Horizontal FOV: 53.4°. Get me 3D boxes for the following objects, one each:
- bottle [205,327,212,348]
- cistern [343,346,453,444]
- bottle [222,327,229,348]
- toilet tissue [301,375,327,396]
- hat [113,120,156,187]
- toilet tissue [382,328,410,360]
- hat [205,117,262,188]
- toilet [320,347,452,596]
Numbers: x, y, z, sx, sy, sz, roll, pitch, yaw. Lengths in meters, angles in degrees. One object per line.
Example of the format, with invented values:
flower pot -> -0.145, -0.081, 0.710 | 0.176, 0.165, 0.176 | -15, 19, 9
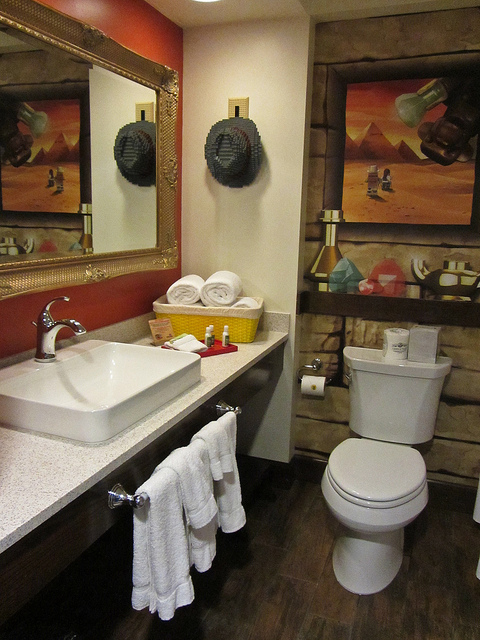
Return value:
bottle -> -0.124, 0.069, 1.871 | 0.027, 0.073, 0.062 | 1, 9, -5
cistern -> 0.684, 0.337, 2.127 | 0.423, 0.340, 0.243 | 6, 7, 32
bottle -> -0.058, 0.067, 1.907 | 0.025, 0.070, 0.080 | 1, 9, -2
toilet tissue -> 0.348, 0.299, 2.270 | 0.104, 0.100, 0.087 | -1, 22, 26
hat -> -0.391, -0.635, 1.842 | 0.208, 0.228, 0.053 | -6, 15, -16
toilet tissue -> 0.655, 0.095, 2.045 | 0.110, 0.137, 0.117 | 3, 7, 15
hat -> -0.033, -0.749, 2.124 | 0.246, 0.292, 0.145 | 6, 10, 30
toilet -> 0.542, 0.560, 1.885 | 0.372, 0.731, 0.676 | 7, 20, 27
